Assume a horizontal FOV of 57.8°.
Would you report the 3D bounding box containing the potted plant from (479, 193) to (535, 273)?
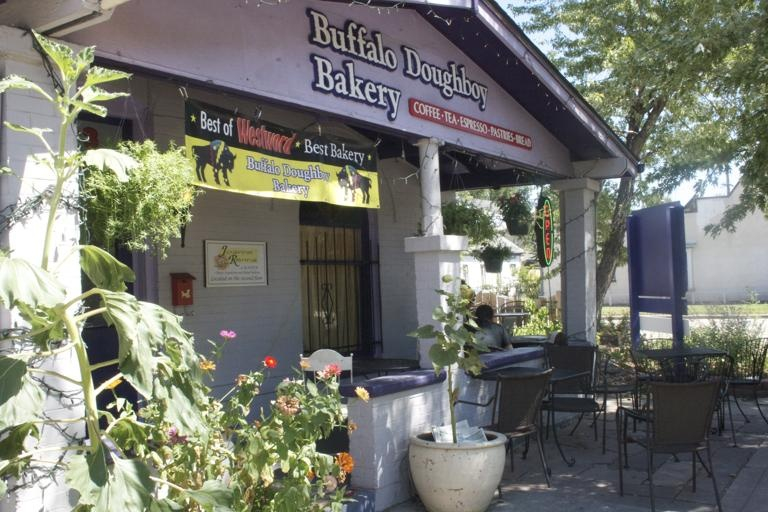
[{"bbox_3d":[2.022,-0.380,11.244,0.826,1.198,0.681,7,10,20],"label":"potted plant"}]
